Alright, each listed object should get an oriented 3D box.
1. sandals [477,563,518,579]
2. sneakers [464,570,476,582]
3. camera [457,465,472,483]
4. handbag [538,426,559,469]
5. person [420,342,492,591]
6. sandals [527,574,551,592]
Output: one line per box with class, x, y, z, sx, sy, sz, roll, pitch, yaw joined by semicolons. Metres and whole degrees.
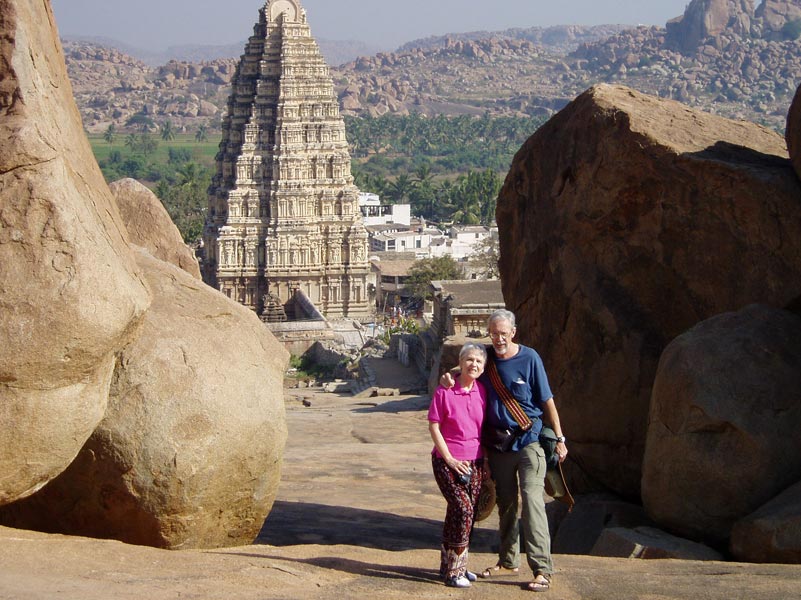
sandals;0.578;1.662;8.557;0.238;0.072;0.091;3;-9;-6
sneakers;0.398;1.654;8.345;0.049;0.054;0.138;-1;-14;1
camera;0.376;1.056;8.365;0.075;0.083;0.089;4;0;-5
handbag;0.894;0.903;8.585;0.082;0.202;0.165;2;0;-16
person;0.323;0.991;8.425;0.319;1.409;0.436;1;3;9
sandals;0.805;1.673;8.284;0.149;0.090;0.115;1;2;2
